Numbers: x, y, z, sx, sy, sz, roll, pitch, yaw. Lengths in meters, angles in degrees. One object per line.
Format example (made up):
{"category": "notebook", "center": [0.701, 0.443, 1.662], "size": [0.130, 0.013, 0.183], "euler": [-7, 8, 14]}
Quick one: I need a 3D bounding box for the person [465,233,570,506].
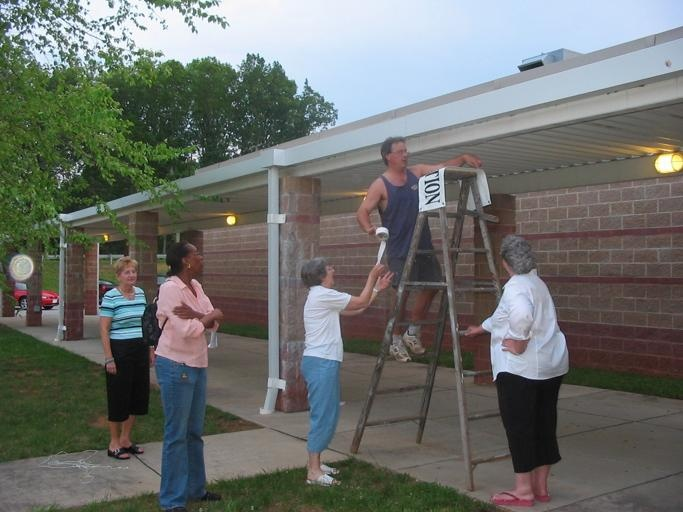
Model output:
{"category": "person", "center": [1.656, 1.037, 5.191], "size": [0.622, 2.437, 0.474], "euler": [0, 2, -16]}

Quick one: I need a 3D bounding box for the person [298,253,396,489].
{"category": "person", "center": [-0.037, 1.137, 5.815], "size": [0.754, 2.215, 0.617], "euler": [0, 2, -4]}

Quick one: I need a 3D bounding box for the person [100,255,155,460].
{"category": "person", "center": [-2.454, 1.144, 6.549], "size": [0.508, 2.214, 0.398], "euler": [0, 3, -22]}

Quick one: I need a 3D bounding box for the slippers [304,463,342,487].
{"category": "slippers", "center": [-0.199, 2.199, 5.730], "size": [0.385, 0.163, 0.130], "euler": [-3, -5, 5]}

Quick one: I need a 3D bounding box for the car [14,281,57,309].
{"category": "car", "center": [-15.086, 2.114, 28.440], "size": [1.865, 1.579, 6.228], "euler": [-1, 3, -28]}

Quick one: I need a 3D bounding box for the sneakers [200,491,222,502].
{"category": "sneakers", "center": [-1.220, 2.244, 5.397], "size": [0.209, 0.094, 0.077], "euler": [-1, -3, -8]}

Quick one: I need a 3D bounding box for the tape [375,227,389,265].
{"category": "tape", "center": [0.418, -0.105, 6.055], "size": [0.147, 0.424, 0.074], "euler": [4, 18, 1]}

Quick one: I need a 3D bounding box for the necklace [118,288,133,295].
{"category": "necklace", "center": [-2.492, 0.420, 6.653], "size": [0.088, 0.127, 0.116], "euler": [-1, 9, 27]}

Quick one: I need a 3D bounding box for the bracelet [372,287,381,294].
{"category": "bracelet", "center": [0.336, 0.348, 5.756], "size": [0.058, 0.043, 0.058], "euler": [5, 0, 17]}

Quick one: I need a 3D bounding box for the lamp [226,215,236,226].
{"category": "lamp", "center": [-2.920, -0.948, 15.166], "size": [0.140, 0.163, 0.140], "euler": [39, -24, 23]}
